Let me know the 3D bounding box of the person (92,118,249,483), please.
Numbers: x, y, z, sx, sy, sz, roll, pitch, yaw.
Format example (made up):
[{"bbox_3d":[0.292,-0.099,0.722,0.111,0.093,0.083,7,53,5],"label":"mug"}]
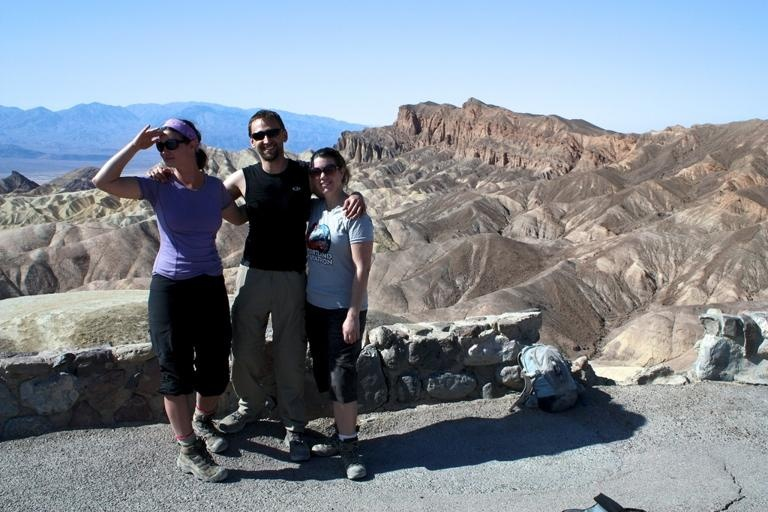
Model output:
[{"bbox_3d":[-2.078,0.411,5.659,1.339,3.648,0.918,12,17,34],"label":"person"}]

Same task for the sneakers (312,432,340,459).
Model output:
[{"bbox_3d":[-0.665,2.186,6.077,0.157,0.169,0.422,1,-9,16],"label":"sneakers"}]

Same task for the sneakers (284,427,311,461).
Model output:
[{"bbox_3d":[-0.988,2.138,6.048,0.174,0.180,0.443,-2,10,-23],"label":"sneakers"}]

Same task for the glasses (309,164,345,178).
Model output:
[{"bbox_3d":[-0.635,-0.952,5.849,0.334,0.130,0.178,0,13,-7],"label":"glasses"}]

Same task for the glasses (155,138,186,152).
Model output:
[{"bbox_3d":[-2.214,-1.156,5.496,0.346,0.159,0.164,1,13,-4],"label":"glasses"}]
